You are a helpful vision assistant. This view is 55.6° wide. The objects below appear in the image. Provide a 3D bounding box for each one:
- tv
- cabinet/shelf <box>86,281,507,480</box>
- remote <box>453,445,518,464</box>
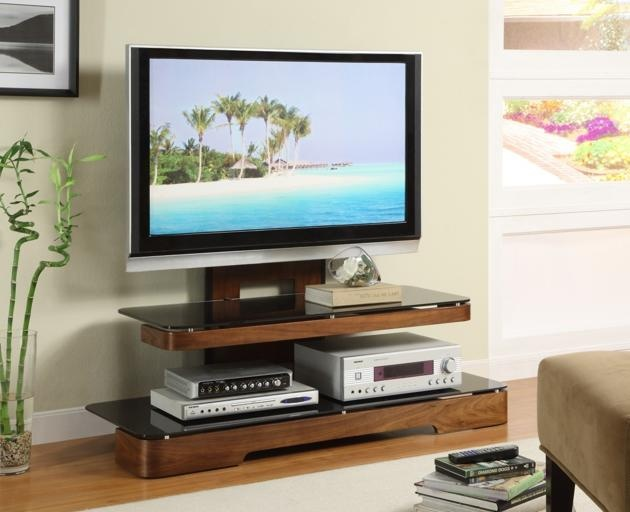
[{"bbox_3d":[-0.225,-0.454,2.713,1.404,0.738,0.054,-3,7,-22],"label":"tv"},{"bbox_3d":[-0.076,0.601,2.874,1.983,0.543,0.678,3,-13,-35],"label":"cabinet/shelf"},{"bbox_3d":[0.499,0.592,1.791,0.166,0.026,0.070,-1,-2,-17],"label":"remote"}]
